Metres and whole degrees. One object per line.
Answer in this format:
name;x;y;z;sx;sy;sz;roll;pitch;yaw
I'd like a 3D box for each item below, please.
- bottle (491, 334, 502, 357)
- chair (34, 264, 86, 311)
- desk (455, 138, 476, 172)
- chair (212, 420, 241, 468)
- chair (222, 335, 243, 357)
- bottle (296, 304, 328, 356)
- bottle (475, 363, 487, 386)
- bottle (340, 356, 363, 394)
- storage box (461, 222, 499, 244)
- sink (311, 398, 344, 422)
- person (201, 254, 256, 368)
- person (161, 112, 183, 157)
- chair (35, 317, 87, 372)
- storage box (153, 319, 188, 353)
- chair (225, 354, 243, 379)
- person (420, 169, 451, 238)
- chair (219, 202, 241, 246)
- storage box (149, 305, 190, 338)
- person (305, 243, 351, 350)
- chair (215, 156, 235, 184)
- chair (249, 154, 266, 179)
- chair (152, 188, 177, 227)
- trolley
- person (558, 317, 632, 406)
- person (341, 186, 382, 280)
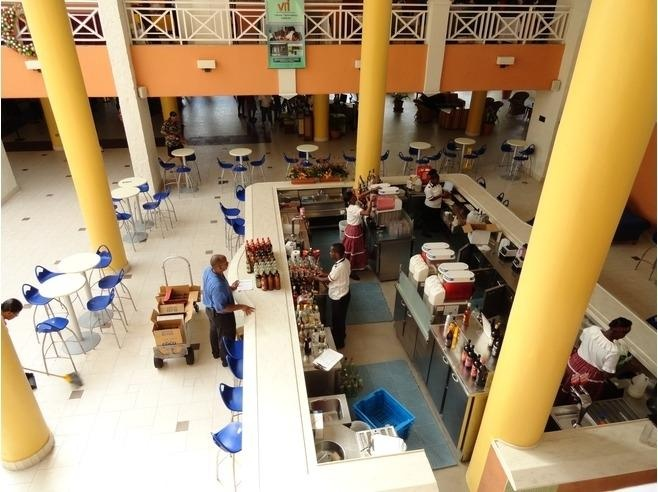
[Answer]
bottle;2.226;1.318;6.004;0.103;0.232;0.245;11;30;24
chair;-4.612;0.747;7.783;0.445;0.691;0.467;-9;50;-14
desk;4.459;-2.942;14.843;0.882;1.087;0.961;2;39;10
chair;-1.237;2.316;5.569;0.351;0.351;0.515;-10;28;-15
chair;-1.493;1.540;6.904;0.278;0.375;0.276;-6;50;-6
bottle;-0.281;1.281;6.798;0.469;0.238;0.685;-3;38;-10
bottle;1.937;1.640;5.767;0.154;0.298;0.171;-1;31;1
bottle;0.358;2.080;7.188;0.375;0.683;0.403;-1;38;0
storage box;2.869;-0.317;8.635;0.451;0.317;0.457;-2;27;0
sink;-0.028;2.262;6.182;0.318;0.202;0.325;-4;37;-6
person;-1.604;1.034;7.150;0.778;2.029;0.639;-7;27;-10
person;-4.794;-3.290;13.993;0.571;1.499;1.922;-11;28;-17
chair;-4.518;1.699;7.605;0.553;1.037;0.592;-4;53;-20
storage box;-2.542;1.461;7.457;0.520;0.552;0.554;-4;34;-9
chair;-1.321;1.762;6.496;0.323;0.453;0.318;-4;64;-9
person;2.475;-0.999;10.506;0.561;1.561;0.965;2;27;8
chair;-2.387;-0.471;10.851;0.420;1.102;0.498;-14;48;-17
storage box;-2.575;1.322;7.334;0.501;0.321;0.492;-3;38;-4
person;-0.008;0.910;7.588;0.657;1.942;0.692;9;41;11
chair;-3.336;-2.388;14.454;0.648;0.966;0.645;-4;45;-5
chair;-2.335;-2.543;14.706;0.620;0.883;0.605;-9;51;-10
chair;-4.380;-0.978;11.993;0.565;1.023;0.577;-9;47;-18
trolley;-2.507;1.161;8.138;0.848;1.406;1.972;1;37;-7
person;3.452;1.562;5.956;0.305;1.581;0.534;-25;35;-38
person;0.703;-0.202;9.430;0.930;1.942;0.744;-21;48;-18
